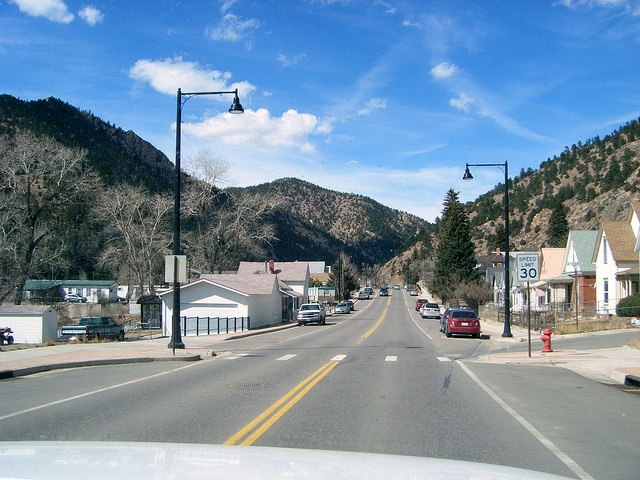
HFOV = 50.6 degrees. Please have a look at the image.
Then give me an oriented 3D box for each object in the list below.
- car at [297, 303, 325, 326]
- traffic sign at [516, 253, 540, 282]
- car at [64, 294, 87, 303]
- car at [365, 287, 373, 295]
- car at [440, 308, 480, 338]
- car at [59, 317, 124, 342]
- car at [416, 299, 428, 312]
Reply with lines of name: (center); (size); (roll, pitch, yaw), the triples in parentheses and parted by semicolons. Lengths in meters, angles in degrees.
car: (-0.642, 5.949, 53.576); (1.700, 1.850, 2.899); (-5, -10, 23)
traffic sign: (7.932, 1.134, 25.849); (0.818, 1.262, 0.148); (-2, -35, 19)
car: (-37.262, 8.977, 102.766); (2.440, 1.257, 1.636); (-4, -3, 3)
car: (9.626, 10.225, 135.438); (1.012, 0.913, 2.505); (-1, -9, 8)
car: (7.810, 4.733, 37.885); (1.355, 1.269, 3.553); (-1, -1, 7)
car: (-13.139, 5.136, 39.179); (3.359, 1.416, 3.049); (2, -11, -24)
car: (11.492, 7.488, 77.235); (0.907, 0.946, 1.683); (1, 3, 7)
